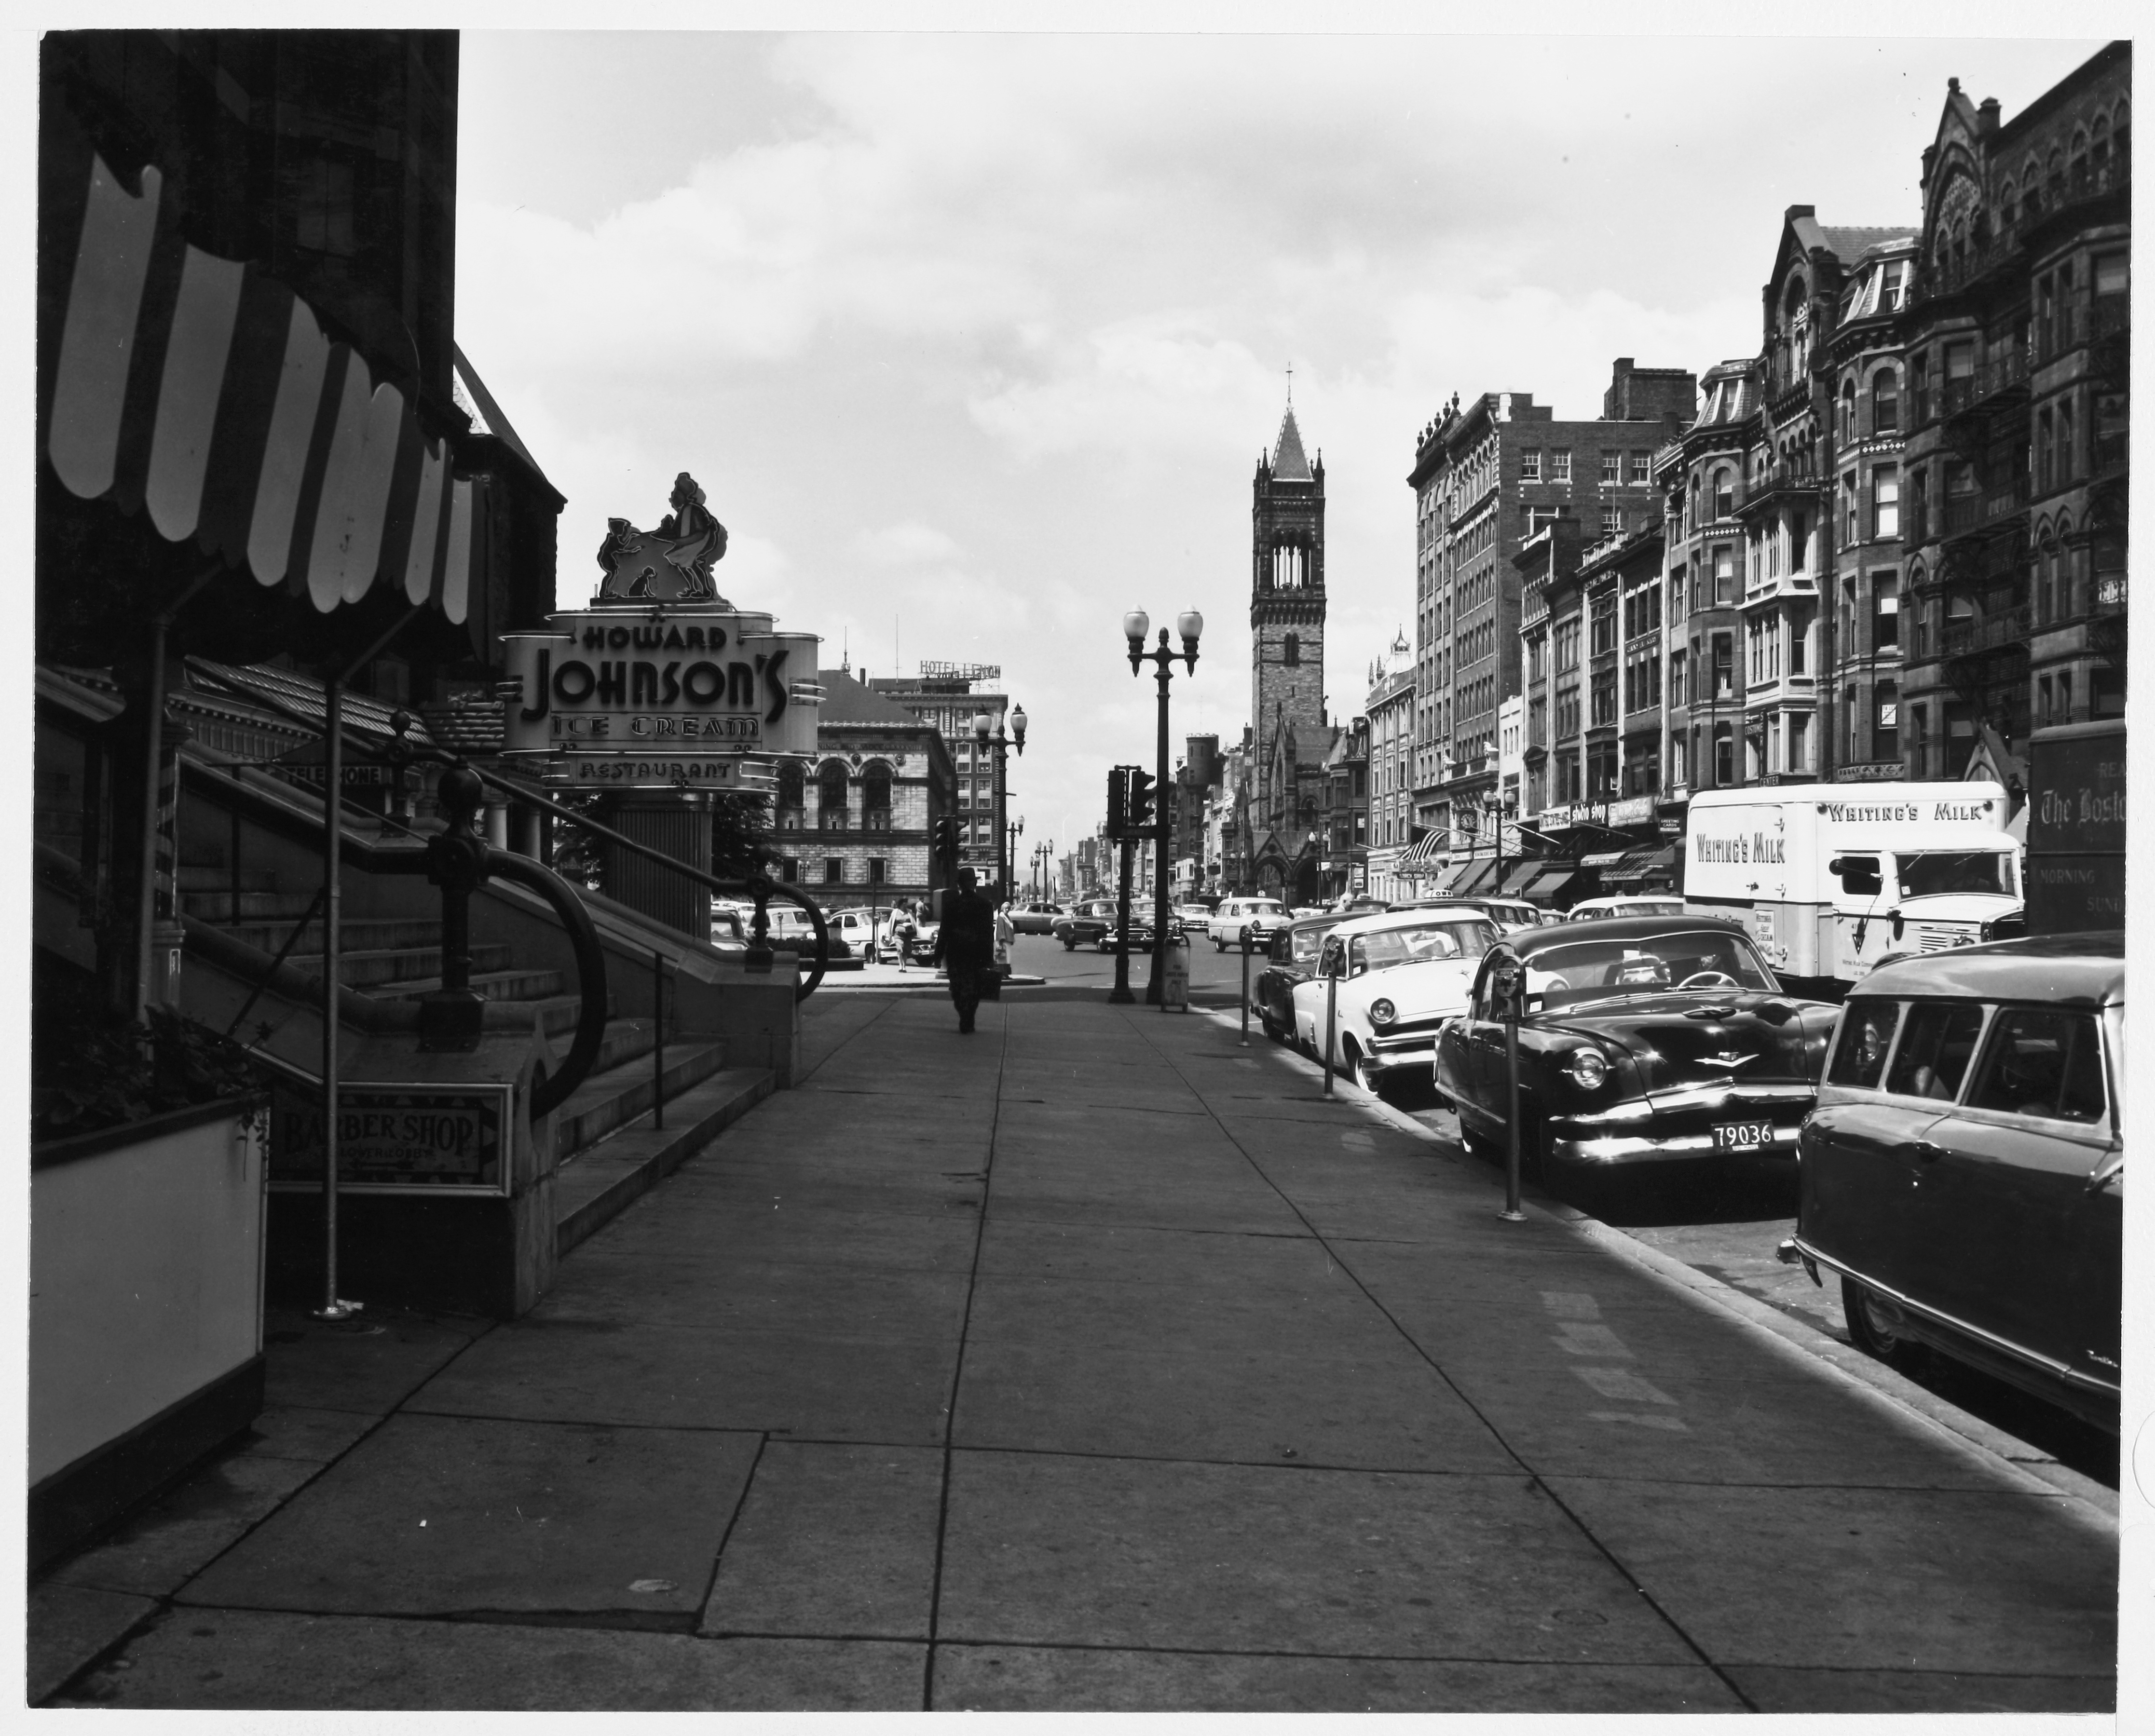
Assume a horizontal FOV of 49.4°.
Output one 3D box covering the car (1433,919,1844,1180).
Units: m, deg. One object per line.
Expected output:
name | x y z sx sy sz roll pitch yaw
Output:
car | 3.303 1.081 14.548 1.314 0.970 2.373 -1 -3 -7

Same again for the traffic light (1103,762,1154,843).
traffic light | 0.685 -0.889 31.885 0.788 1.199 0.738 0 -1 -3

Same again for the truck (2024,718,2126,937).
truck | 7.417 -0.263 17.228 0.442 1.617 1.696 2 3 10

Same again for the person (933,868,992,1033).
person | -1.157 0.829 24.210 0.529 1.970 0.433 6 33 7
